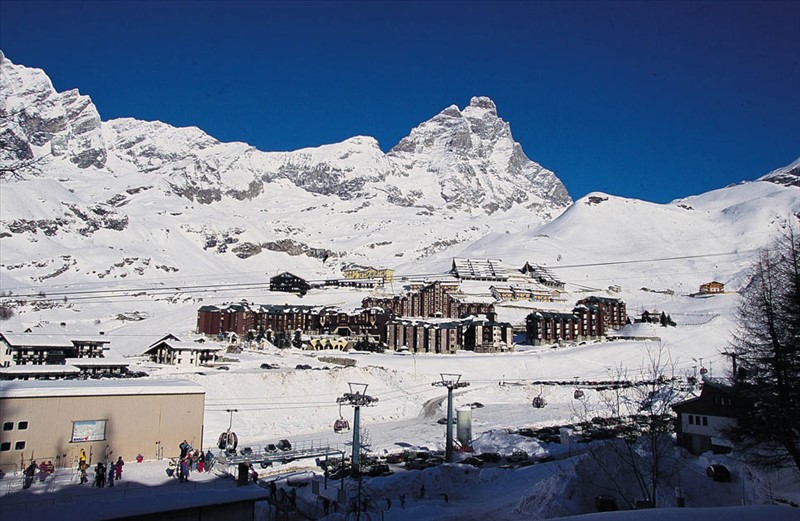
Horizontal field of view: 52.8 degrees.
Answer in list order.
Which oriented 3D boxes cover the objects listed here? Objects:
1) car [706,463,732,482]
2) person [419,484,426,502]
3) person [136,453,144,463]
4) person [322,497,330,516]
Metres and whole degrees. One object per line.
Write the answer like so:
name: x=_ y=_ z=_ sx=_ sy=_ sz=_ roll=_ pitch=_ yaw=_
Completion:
car: x=30.345 y=20.082 z=76.437 sx=1.847 sy=0.742 sz=1.658 roll=-4 pitch=3 yaw=-3
person: x=2.098 y=22.149 z=77.307 sx=0.530 sy=1.374 sz=0.888 roll=-4 pitch=-24 yaw=3
person: x=-23.563 y=17.849 z=72.791 sx=0.506 sy=0.679 sz=0.825 roll=-5 pitch=-22 yaw=6
person: x=-6.942 y=22.940 z=75.485 sx=0.661 sy=1.441 sz=0.899 roll=0 pitch=-24 yaw=-6
